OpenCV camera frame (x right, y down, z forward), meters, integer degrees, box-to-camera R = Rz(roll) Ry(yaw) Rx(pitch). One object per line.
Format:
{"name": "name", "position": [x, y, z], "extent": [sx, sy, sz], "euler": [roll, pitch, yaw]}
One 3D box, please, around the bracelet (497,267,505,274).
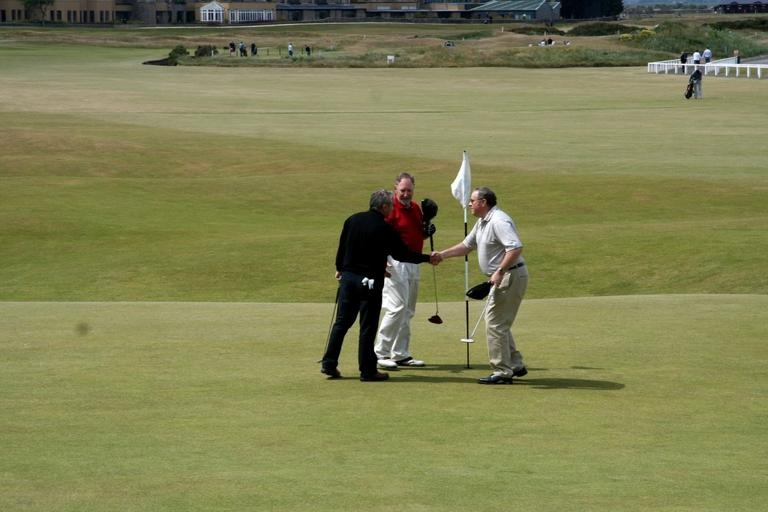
{"name": "bracelet", "position": [4.159, 0.492, 67.074], "extent": [0.213, 0.164, 0.046], "euler": [0, 9, 2]}

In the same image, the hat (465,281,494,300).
{"name": "hat", "position": [3.473, 1.271, 67.651], "extent": [1.313, 0.371, 0.369], "euler": [-25, 0, 20]}

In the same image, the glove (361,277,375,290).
{"name": "glove", "position": [-0.497, 0.998, 67.678], "extent": [0.381, 0.465, 0.444], "euler": [35, -14, 9]}

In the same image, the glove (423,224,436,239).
{"name": "glove", "position": [1.737, -0.967, 69.031], "extent": [0.497, 0.409, 0.531], "euler": [8, 9, -13]}
